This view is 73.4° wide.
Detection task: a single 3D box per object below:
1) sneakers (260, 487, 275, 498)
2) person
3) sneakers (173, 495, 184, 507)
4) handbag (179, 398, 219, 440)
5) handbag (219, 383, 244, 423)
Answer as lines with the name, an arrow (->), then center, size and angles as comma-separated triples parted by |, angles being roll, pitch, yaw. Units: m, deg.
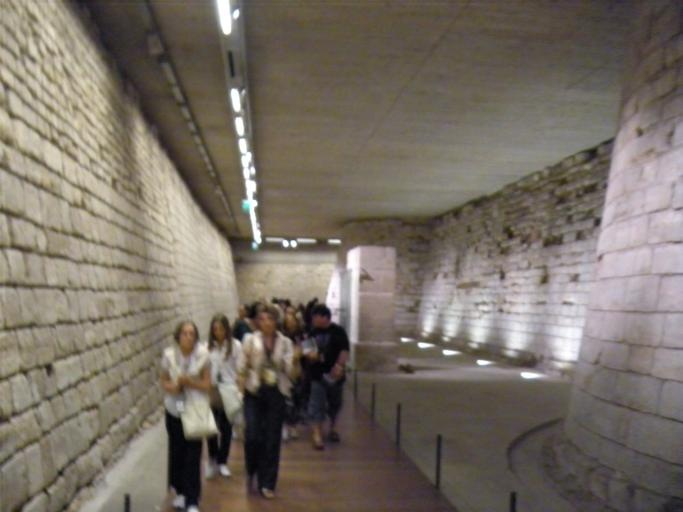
sneakers -> -0.673, 2.162, 4.214 | 0.134, 0.072, 0.092 | 2, 0, 2
person -> -0.873, 1.586, 4.746 | 1.452, 1.601, 0.808 | 6, -31, -15
sneakers -> -1.410, 2.139, 4.004 | 0.058, 0.067, 0.145 | 4, 1, -9
handbag -> -1.295, 1.444, 4.139 | 0.351, 0.185, 0.433 | 12, 17, -39
handbag -> -1.067, 1.511, 4.709 | 0.144, 0.389, 0.331 | -2, 1, -22
